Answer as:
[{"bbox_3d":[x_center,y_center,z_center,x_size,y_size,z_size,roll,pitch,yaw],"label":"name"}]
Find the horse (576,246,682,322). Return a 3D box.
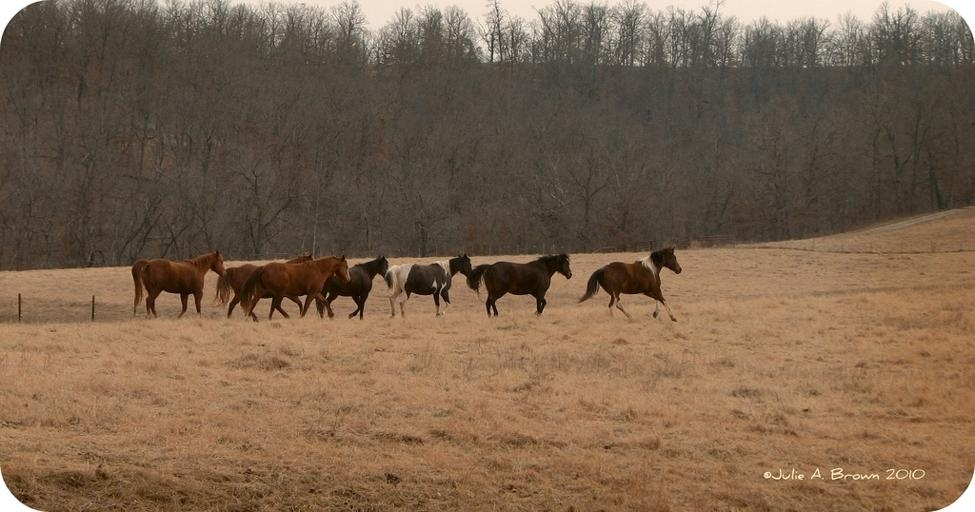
[{"bbox_3d":[2.572,0.554,20.369,2.130,1.278,0.481,-2,-3,-24],"label":"horse"}]

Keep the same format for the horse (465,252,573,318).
[{"bbox_3d":[0.601,0.506,20.609,2.123,1.263,0.497,3,-2,-28],"label":"horse"}]

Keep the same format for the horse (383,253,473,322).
[{"bbox_3d":[-1.053,0.584,20.819,1.713,1.143,0.481,1,-1,-27],"label":"horse"}]

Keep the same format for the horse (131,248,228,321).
[{"bbox_3d":[-5.489,0.541,20.388,1.769,1.240,0.496,3,-6,-44],"label":"horse"}]

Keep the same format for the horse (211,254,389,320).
[{"bbox_3d":[-3.970,0.509,20.473,1.837,1.060,0.618,1,0,-4],"label":"horse"}]
